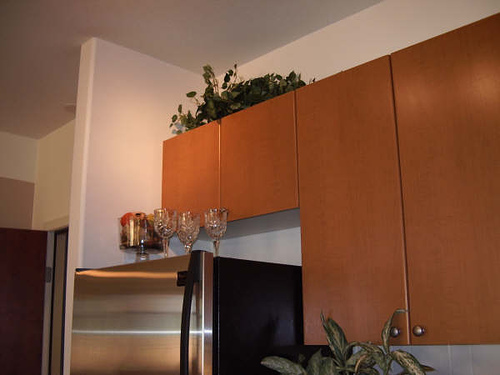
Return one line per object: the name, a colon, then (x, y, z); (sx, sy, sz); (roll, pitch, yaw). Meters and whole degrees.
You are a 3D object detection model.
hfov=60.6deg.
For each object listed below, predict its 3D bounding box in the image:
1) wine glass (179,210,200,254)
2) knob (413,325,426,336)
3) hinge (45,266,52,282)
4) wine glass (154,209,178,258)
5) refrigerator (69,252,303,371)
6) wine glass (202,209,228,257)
wine glass: (-0.272, 0.187, 1.796); (0.077, 0.187, 0.134); (9, -16, -32)
knob: (0.571, 0.485, 1.444); (0.041, 0.035, 0.015); (-5, -14, 19)
hinge: (-1.641, 0.708, 3.487); (0.056, 0.126, 0.024); (12, -17, -40)
wine glass: (-0.364, 0.217, 1.848); (0.093, 0.259, 0.095); (2, 8, -6)
refrigerator: (-0.296, 0.517, 1.700); (0.991, 0.459, 0.452); (-4, -14, 16)
wine glass: (-0.149, 0.202, 1.824); (0.093, 0.194, 0.176); (2, -14, -7)
